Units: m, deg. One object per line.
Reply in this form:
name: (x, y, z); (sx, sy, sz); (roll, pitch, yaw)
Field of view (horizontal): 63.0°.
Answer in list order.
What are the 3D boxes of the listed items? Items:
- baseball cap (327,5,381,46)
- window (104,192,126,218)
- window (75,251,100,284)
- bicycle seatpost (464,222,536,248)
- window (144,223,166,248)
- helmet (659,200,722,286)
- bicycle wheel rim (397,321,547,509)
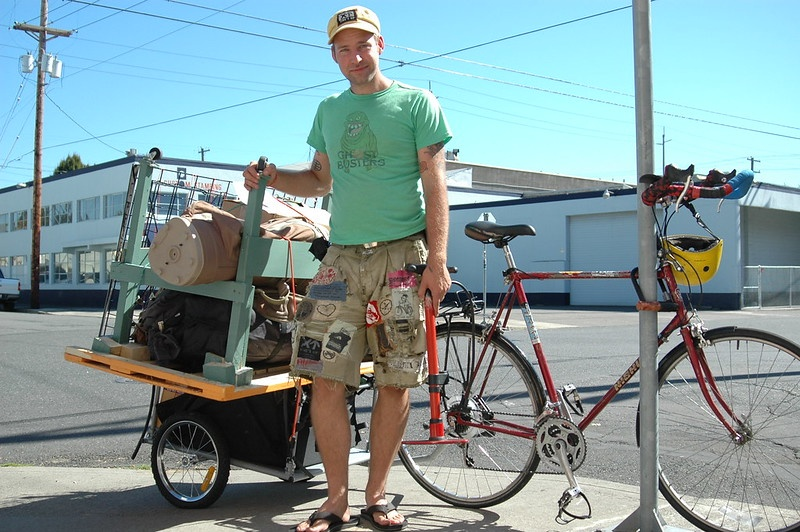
baseball cap: (-0.265, -1.431, 3.826); (0.295, 0.200, 0.211); (0, -3, -4)
window: (-13.916, -2.943, 31.872); (0.524, 1.197, 1.759); (3, -4, -38)
window: (-15.908, 0.095, 33.444); (1.711, 1.634, 0.117); (4, 5, 31)
bicycle seatpost: (0.638, -0.204, 4.182); (0.411, 0.154, 0.190); (9, 12, 33)
window: (-1.628, -0.207, 4.350); (0.209, 0.203, 0.011); (-3, 13, -16)
helmet: (1.671, -0.035, 3.771); (0.328, 0.303, 0.237); (-1, -4, 14)
bicycle wheel rim: (0.339, 1.130, 4.347); (1.070, 1.036, 0.391); (-19, -1, 44)
